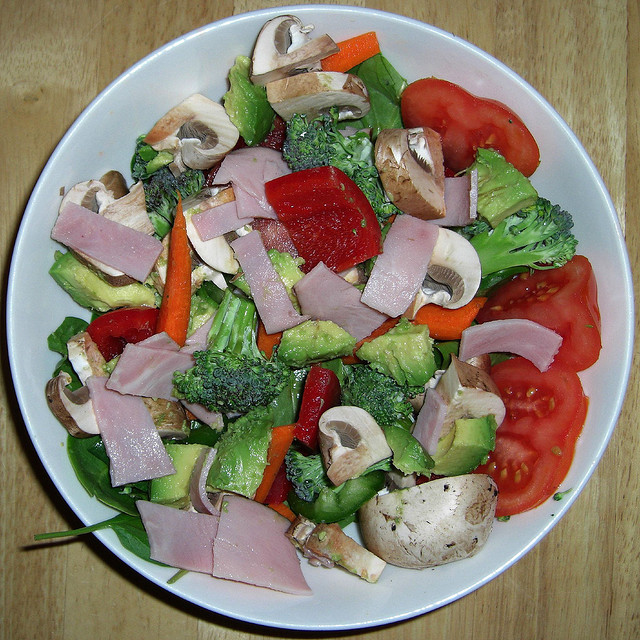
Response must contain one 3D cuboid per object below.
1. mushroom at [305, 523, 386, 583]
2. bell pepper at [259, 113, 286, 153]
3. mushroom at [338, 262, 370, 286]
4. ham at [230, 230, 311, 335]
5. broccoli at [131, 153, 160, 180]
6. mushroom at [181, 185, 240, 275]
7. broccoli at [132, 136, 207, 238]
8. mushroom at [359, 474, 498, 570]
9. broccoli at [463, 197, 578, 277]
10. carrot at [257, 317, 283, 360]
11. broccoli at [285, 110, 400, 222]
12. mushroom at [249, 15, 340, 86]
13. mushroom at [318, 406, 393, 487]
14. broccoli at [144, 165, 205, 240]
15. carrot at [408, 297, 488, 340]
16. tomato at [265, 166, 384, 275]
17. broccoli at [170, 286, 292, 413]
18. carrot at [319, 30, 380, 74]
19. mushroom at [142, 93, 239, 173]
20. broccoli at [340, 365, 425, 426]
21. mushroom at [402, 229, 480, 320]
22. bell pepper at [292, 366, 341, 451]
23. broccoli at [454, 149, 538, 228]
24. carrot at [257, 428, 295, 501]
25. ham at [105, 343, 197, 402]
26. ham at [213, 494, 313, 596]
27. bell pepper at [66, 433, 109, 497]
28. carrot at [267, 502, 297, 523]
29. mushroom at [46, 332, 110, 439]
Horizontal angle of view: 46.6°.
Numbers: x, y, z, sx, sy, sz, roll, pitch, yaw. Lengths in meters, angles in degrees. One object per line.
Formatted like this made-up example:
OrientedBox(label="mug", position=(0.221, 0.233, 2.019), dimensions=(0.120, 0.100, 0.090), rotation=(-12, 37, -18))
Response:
OrientedBox(label="mushroom", position=(0.089, 0.740, 2.420), dimensions=(0.274, 0.086, 0.136), rotation=(32, 78, -3))
OrientedBox(label="bell pepper", position=(-0.153, -0.611, 2.473), dimensions=(0.036, 0.123, 0.111), rotation=(12, 96, 29))
OrientedBox(label="mushroom", position=(0.117, -0.145, 2.450), dimensions=(0.087, 0.022, 0.074), rotation=(11, 96, -37))
OrientedBox(label="ham", position=(-0.155, -0.115, 2.427), dimensions=(0.198, 0.087, 0.349), rotation=(-35, 82, 11))
OrientedBox(label="broccoli", position=(-0.595, -0.501, 2.447), dimensions=(0.083, 0.023, 0.074), rotation=(5, 101, 2))
OrientedBox(label="mushroom", position=(-0.353, -0.283, 2.427), dimensions=(0.224, 0.058, 0.271), rotation=(-22, 99, -1))
OrientedBox(label="broccoli", position=(-0.503, -0.424, 2.368), dimensions=(0.256, 0.079, 0.294), rotation=(-3, 104, -7))
OrientedBox(label="mushroom", position=(0.359, 0.636, 2.370), dimensions=(0.444, 0.139, 0.257), rotation=(-12, 86, 0))
OrientedBox(label="broccoli", position=(0.626, -0.290, 2.442), dimensions=(0.282, 0.187, 0.079), rotation=(5, 81, -8))
OrientedBox(label="carrot", position=(-0.166, 0.062, 2.436), dimensions=(0.133, 0.034, 0.108), rotation=(8, 108, 22))
OrientedBox(label="broccoli", position=(0.087, -0.506, 2.453), dimensions=(0.399, 0.139, 0.326), rotation=(24, 91, -1))
OrientedBox(label="mushroom", position=(-0.098, -0.847, 2.373), dimensions=(0.233, 0.060, 0.210), rotation=(-29, 96, -5))
OrientedBox(label="mushroom", position=(0.110, 0.376, 2.385), dimensions=(0.251, 0.118, 0.245), rotation=(-27, 83, 13))
OrientedBox(label="broccoli", position=(-0.505, -0.397, 2.522), dimensions=(0.202, 0.056, 0.232), rotation=(-3, 110, -12))
OrientedBox(label="carrot", position=(0.424, 0.003, 2.498), dimensions=(0.180, 0.172, 0.095), rotation=(-5, 86, -2))
OrientedBox(label="tomato", position=(0.021, -0.318, 2.378), dimensions=(0.108, 0.423, 0.348), rotation=(-43, 125, -39))
OrientedBox(label="broccoli", position=(-0.275, 0.097, 2.444), dimensions=(0.416, 0.194, 0.374), rotation=(1, 88, -2))
OrientedBox(label="carrot", position=(0.093, -0.845, 2.389), dimensions=(0.200, 0.090, 0.085), rotation=(-38, 86, -2))
OrientedBox(label="mushroom", position=(-0.462, -0.613, 2.423), dimensions=(0.141, 0.321, 0.237), rotation=(2, 104, 28))
OrientedBox(label="broccoli", position=(0.179, 0.221, 2.429), dimensions=(0.275, 0.076, 0.227), rotation=(4, 49, -14))
OrientedBox(label="mushroom", position=(0.430, -0.074, 2.483), dimensions=(0.073, 0.234, 0.272), rotation=(44, 109, 38))
OrientedBox(label="bell pepper", position=(-0.018, 0.278, 2.357), dimensions=(0.070, 0.182, 0.228), rotation=(13, 62, -28))
OrientedBox(label="broccoli", position=(0.549, -0.432, 2.415), dimensions=(0.206, 0.084, 0.250), rotation=(-33, 64, -7))
OrientedBox(label="carrot", position=(-0.157, 0.459, 2.405), dimensions=(0.083, 0.066, 0.273), rotation=(14, 119, -12))
OrientedBox(label="ham", position=(-0.528, 0.164, 2.338), dimensions=(0.237, 0.143, 0.154), rotation=(10, 86, 2))
OrientedBox(label="ham", position=(-0.189, 0.676, 2.333), dimensions=(0.360, 0.112, 0.301), rotation=(15, 72, -26))
OrientedBox(label="bell pepper", position=(-0.757, 0.458, 2.385), dimensions=(0.060, 0.156, 0.174), rotation=(-30, 61, 17))
OrientedBox(label="carrot", position=(-0.127, 0.642, 2.521), dimensions=(0.087, 0.048, 0.018), rotation=(36, 73, 12))
OrientedBox(label="mushroom", position=(-0.769, 0.208, 2.365), dimensions=(0.245, 0.095, 0.297), rotation=(-28, 76, 17))
